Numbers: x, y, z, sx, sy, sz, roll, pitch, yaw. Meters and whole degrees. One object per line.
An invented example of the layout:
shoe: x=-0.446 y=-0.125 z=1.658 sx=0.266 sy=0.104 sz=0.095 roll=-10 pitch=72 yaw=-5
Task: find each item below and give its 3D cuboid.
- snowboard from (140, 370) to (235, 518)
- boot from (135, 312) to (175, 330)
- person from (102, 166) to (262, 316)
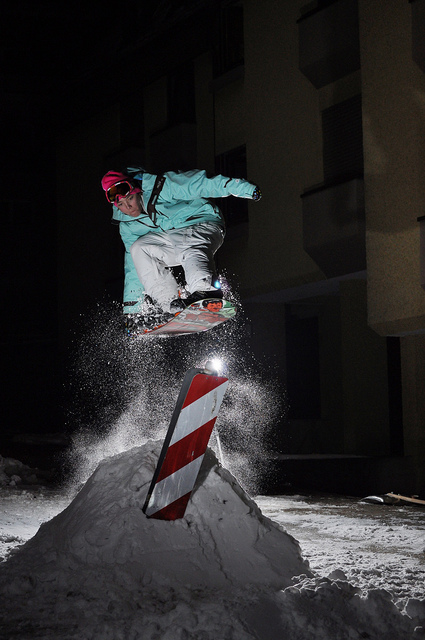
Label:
snowboard: x=-0.112 y=0.689 z=3.417 sx=0.313 sy=0.810 sz=0.556 roll=-1 pitch=-5 yaw=22
boot: x=-0.592 y=0.011 z=6.516 sx=0.104 sy=0.194 sz=0.352 roll=25 pitch=-21 yaw=-38
person: x=-0.394 y=-0.801 z=6.299 sx=1.346 sy=1.577 sz=1.149 roll=1 pitch=-5 yaw=2
